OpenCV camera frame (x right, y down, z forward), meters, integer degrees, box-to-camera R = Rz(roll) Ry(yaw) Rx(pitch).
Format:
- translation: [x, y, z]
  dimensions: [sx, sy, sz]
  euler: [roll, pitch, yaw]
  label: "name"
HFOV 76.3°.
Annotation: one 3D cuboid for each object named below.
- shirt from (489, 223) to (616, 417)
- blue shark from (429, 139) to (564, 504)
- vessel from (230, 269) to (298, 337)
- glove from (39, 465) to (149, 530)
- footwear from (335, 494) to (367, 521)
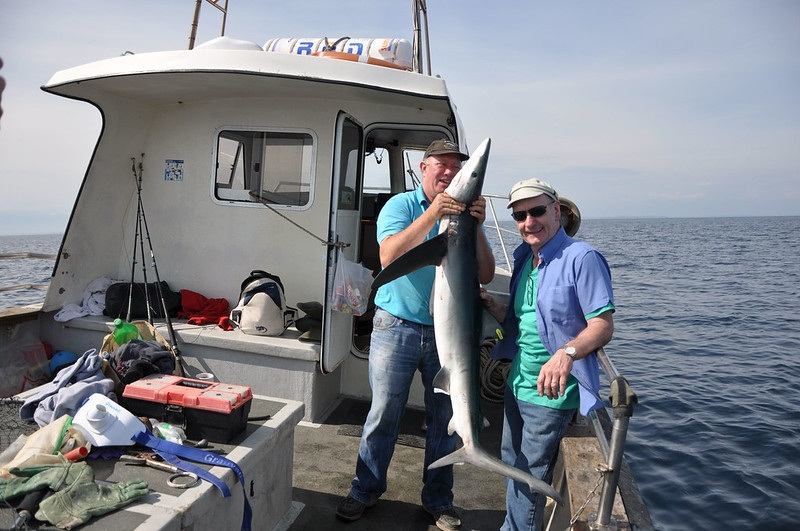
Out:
- translation: [1.134, 0.406, 3.749]
  dimensions: [0.446, 1.348, 0.802]
  euler: [-4, 6, -38]
  label: "shirt"
- translation: [0.569, 0.477, 3.929]
  dimensions: [1.084, 2.618, 0.595]
  euler: [5, -3, -30]
  label: "blue shark"
- translation: [-1.548, 0.395, 5.865]
  dimensions: [0.694, 0.635, 0.701]
  euler: [2, 7, -5]
  label: "vessel"
- translation: [-1.945, 1.445, 3.231]
  dimensions: [0.570, 0.286, 0.323]
  euler: [0, 5, 7]
  label: "glove"
- translation: [-0.432, 2.044, 4.278]
  dimensions: [0.125, 0.147, 0.342]
  euler: [9, -24, 7]
  label: "footwear"
